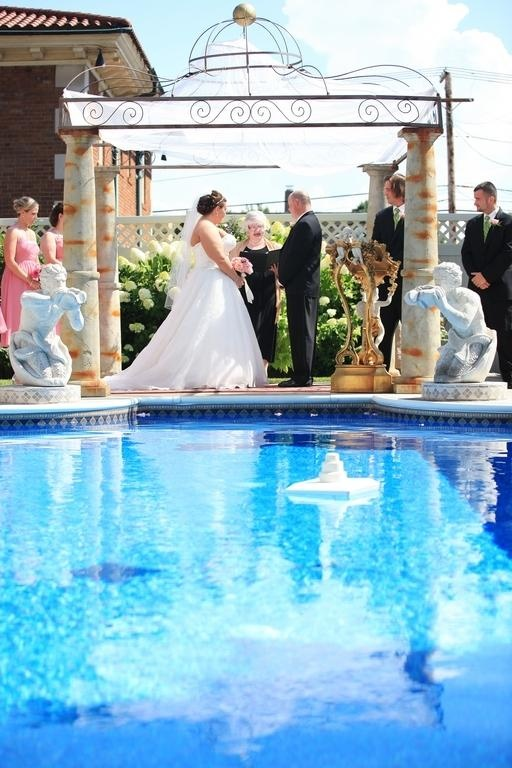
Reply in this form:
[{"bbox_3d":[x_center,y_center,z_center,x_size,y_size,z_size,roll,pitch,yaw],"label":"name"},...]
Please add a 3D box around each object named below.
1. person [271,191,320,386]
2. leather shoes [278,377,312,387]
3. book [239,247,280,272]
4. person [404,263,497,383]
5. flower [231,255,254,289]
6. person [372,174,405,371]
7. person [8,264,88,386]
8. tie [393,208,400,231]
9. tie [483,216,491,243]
[{"bbox_3d":[0.439,-0.950,8.759,0.440,1.953,0.530,0,4,3],"label":"person"},{"bbox_3d":[0.405,-0.003,8.851,0.323,0.126,0.122,3,-1,-5],"label":"leather shoes"},{"bbox_3d":[0.037,-1.305,9.191,0.387,0.331,0.098,1,-2,20],"label":"book"},{"bbox_3d":[1.510,-0.467,6.727,0.639,0.922,0.371,0,4,8],"label":"person"},{"bbox_3d":[-0.158,-1.141,8.979,0.312,0.379,0.242,-4,3,-18],"label":"flower"},{"bbox_3d":[1.357,-1.145,8.984,0.314,1.986,0.701,0,4,7],"label":"person"},{"bbox_3d":[-1.641,-0.467,6.875,0.592,0.972,0.481,-1,4,-10],"label":"person"},{"bbox_3d":[1.429,-1.689,8.879,0.061,0.225,0.069,0,4,6],"label":"tie"},{"bbox_3d":[2.278,-1.541,8.609,0.088,0.251,0.070,2,5,30],"label":"tie"}]
